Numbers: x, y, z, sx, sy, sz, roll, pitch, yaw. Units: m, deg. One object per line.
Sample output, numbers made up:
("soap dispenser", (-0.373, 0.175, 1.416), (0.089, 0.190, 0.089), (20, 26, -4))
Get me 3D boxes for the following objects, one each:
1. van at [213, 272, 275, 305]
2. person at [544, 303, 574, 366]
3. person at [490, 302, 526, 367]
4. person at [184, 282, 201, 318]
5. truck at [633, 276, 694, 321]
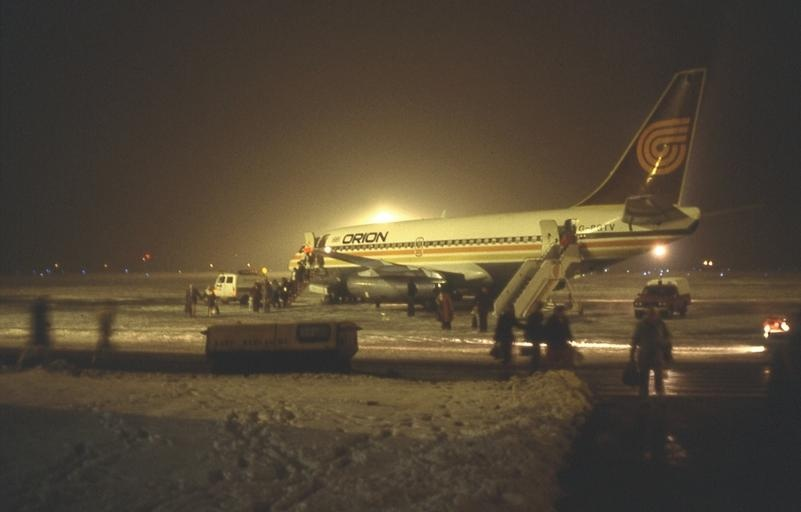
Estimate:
("van", (-9.651, 1.844, 44.041), (1.865, 1.898, 4.286), (0, 0, -34))
("person", (4.477, 2.246, 21.324), (0.802, 1.701, 0.411), (1, -5, 11))
("person", (3.140, 2.351, 22.788), (0.764, 1.896, 0.793), (0, -1, -24))
("person", (-10.234, 2.152, 37.003), (0.513, 1.537, 1.613), (4, -5, -18))
("truck", (12.201, 1.987, 35.021), (2.237, 1.925, 4.797), (0, 0, -1))
